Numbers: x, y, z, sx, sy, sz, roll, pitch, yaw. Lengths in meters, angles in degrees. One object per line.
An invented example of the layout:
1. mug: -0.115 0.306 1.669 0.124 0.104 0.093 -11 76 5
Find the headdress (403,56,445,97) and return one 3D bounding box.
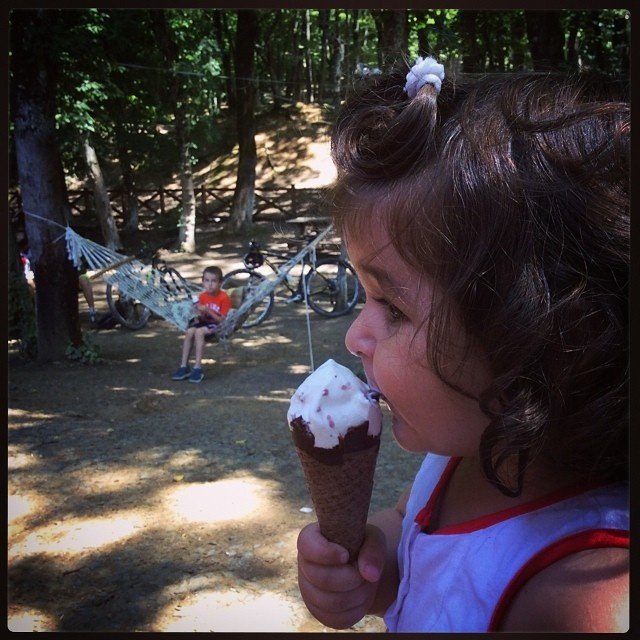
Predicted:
1. headdress: 0.190 -0.450 1.367 0.071 0.076 0.038 18 3 17

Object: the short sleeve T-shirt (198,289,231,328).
1. short sleeve T-shirt: -0.883 -0.086 6.196 0.357 0.327 0.193 3 -5 -6
